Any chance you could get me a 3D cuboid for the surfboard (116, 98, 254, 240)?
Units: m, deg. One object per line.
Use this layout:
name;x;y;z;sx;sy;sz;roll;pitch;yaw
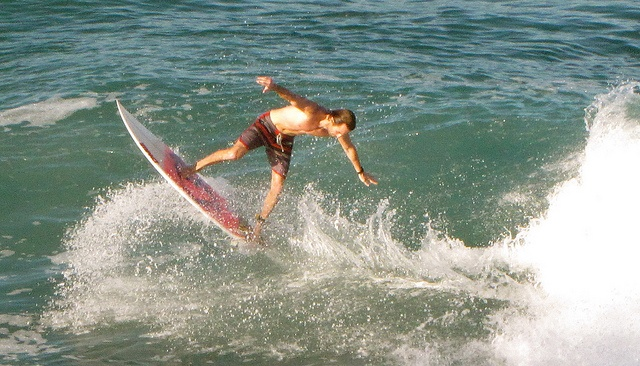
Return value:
surfboard;-3.172;-0.198;17.711;4.310;0.472;0.905;39;22;4
